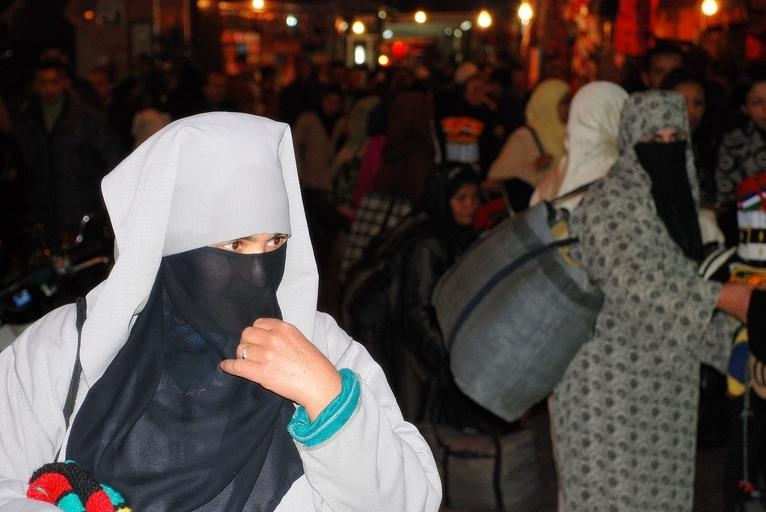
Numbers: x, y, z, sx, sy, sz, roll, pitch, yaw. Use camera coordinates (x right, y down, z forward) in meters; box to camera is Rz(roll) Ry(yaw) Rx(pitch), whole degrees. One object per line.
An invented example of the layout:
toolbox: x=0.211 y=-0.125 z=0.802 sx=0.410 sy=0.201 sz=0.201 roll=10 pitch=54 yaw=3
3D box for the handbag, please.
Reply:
handbag: x=0.738 y=0.337 z=4.916 sx=0.546 sy=0.985 sz=0.934 roll=16 pitch=36 yaw=-53
